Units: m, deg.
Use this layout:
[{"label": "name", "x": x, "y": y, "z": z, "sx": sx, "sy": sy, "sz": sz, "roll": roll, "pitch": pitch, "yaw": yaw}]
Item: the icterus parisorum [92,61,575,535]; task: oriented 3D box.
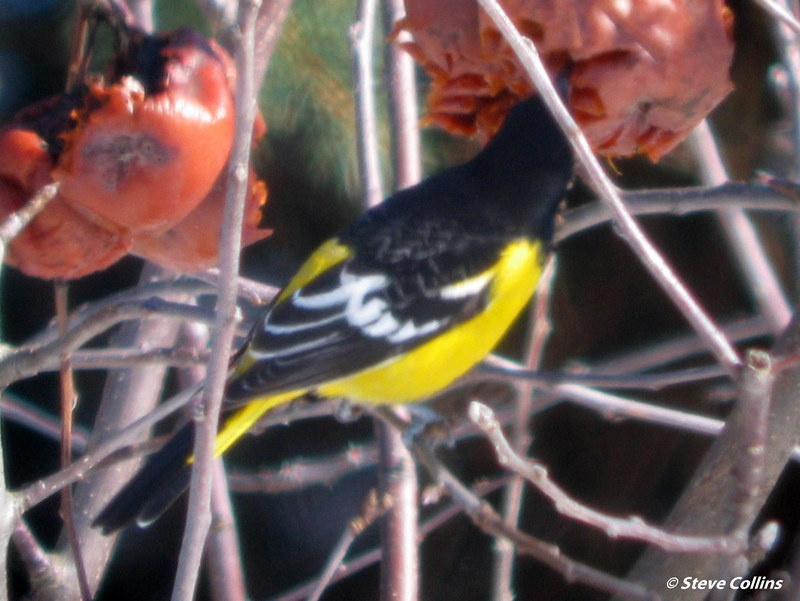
[{"label": "icterus parisorum", "x": -0.055, "y": -0.002, "z": 1.907, "sx": 0.858, "sy": 0.405, "sz": 0.266, "roll": -15, "pitch": 24, "yaw": -11}]
